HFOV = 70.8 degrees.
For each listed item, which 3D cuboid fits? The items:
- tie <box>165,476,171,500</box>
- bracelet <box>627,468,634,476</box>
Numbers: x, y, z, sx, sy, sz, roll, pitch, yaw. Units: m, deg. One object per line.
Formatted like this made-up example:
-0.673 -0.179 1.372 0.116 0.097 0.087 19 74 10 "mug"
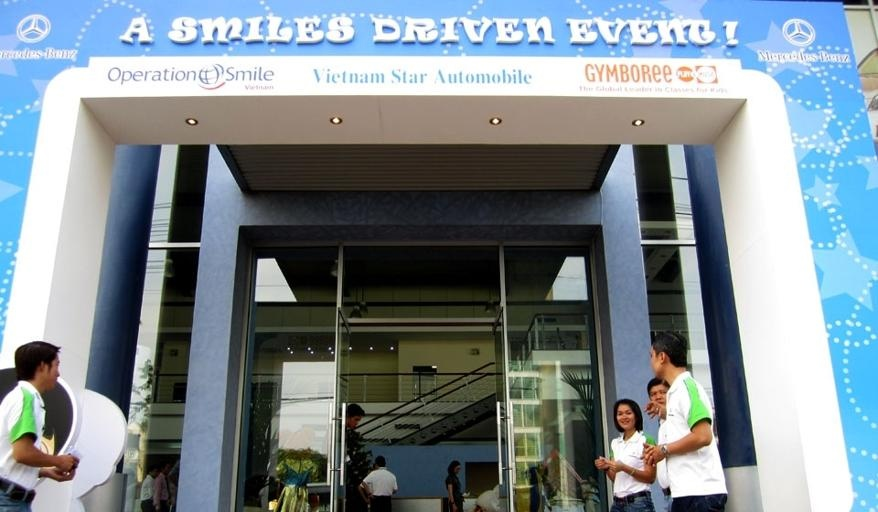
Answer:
-3.824 3.281 8.725 0.099 0.250 0.047 -1 -21 3 "tie"
1.884 2.111 6.052 0.059 0.063 0.026 1 8 20 "bracelet"
